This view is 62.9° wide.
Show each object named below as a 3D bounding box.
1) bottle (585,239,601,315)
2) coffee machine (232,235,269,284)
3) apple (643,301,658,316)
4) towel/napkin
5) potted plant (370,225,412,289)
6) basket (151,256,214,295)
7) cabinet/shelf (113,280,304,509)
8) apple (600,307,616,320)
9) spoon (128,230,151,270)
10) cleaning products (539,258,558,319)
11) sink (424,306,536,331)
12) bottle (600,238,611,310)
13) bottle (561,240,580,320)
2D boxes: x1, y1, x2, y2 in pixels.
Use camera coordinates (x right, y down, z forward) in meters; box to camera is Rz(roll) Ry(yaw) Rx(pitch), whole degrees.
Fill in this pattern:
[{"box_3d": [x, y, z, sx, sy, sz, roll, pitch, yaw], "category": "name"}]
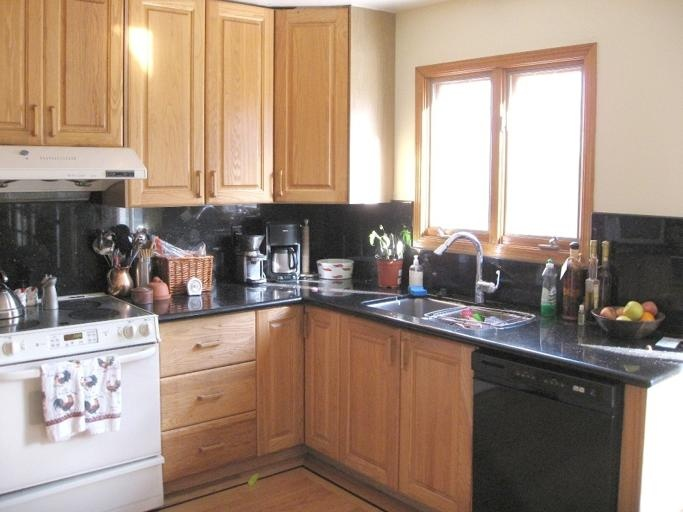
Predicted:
[{"box_3d": [1.264, 0.107, 2.833, 0.069, 0.358, 0.132, 1, 9, 24], "category": "bottle"}, {"box_3d": [-0.620, 0.026, 3.739, 0.232, 0.361, 0.331, -4, 6, -41], "category": "coffee machine"}, {"box_3d": [1.476, 0.251, 2.691, 0.069, 0.074, 0.067, -4, 2, -23], "category": "apple"}, {"box_3d": [-1.264, 0.700, 2.745, 0.417, 0.379, 0.082, -9, -10, 6], "category": "towel/napkin"}, {"box_3d": [0.320, 0.016, 3.774, 0.362, 0.445, 0.397, 1, -3, -3], "category": "potted plant"}, {"box_3d": [-1.006, 0.070, 3.560, 0.281, 0.133, 0.277, 0, 7, 5], "category": "basket"}, {"box_3d": [-0.889, 0.824, 3.455, 1.118, 0.950, 0.778, -1, 0, -39], "category": "cabinet/shelf"}, {"box_3d": [1.266, 0.276, 2.679, 0.060, 0.051, 0.058, -5, -5, 11], "category": "apple"}, {"box_3d": [-1.271, -0.052, 3.500, 0.117, 0.236, 0.172, -3, 8, -5], "category": "spoon"}, {"box_3d": [1.125, 0.173, 3.057, 0.090, 0.299, 0.181, 0, 9, 20], "category": "cleaning products"}, {"box_3d": [0.758, 0.339, 3.051, 0.221, 0.092, 0.276, -1, 2, -39], "category": "sink"}, {"box_3d": [1.335, 0.088, 2.849, 0.055, 0.327, 0.104, 4, 10, 38], "category": "bottle"}, {"box_3d": [1.209, 0.129, 2.977, 0.091, 0.401, 0.134, 0, 9, 21], "category": "bottle"}]
